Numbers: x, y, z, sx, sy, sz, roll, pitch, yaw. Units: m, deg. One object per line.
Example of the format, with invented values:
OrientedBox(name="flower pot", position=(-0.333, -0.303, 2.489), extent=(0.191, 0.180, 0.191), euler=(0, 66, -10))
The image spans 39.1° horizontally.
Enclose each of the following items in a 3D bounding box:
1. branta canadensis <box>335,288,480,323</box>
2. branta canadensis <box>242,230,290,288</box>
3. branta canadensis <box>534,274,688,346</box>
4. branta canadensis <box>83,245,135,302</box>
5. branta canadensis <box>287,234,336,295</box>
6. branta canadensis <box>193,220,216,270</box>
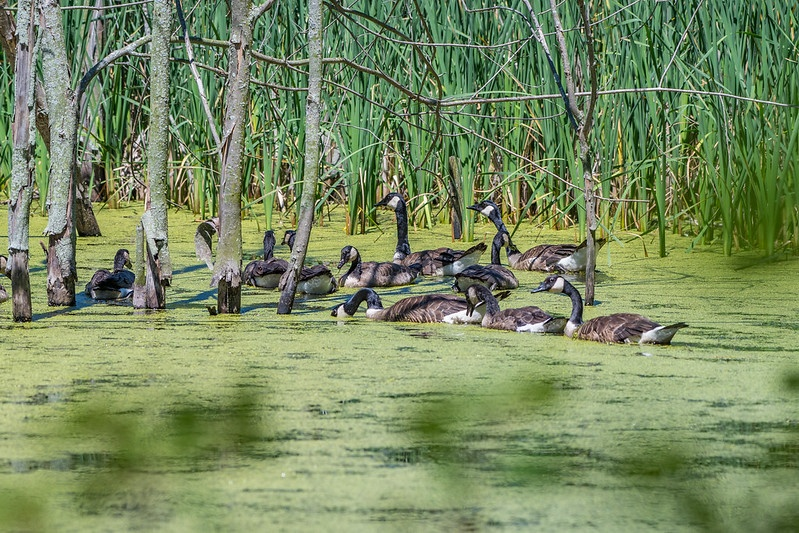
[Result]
OrientedBox(name="branta canadensis", position=(0.094, 0.394, 10.833), extent=(1.426, 0.308, 0.349), euler=(1, 5, 13))
OrientedBox(name="branta canadensis", position=(-1.467, -0.023, 12.633), extent=(0.407, 0.577, 0.837), euler=(3, 6, -5))
OrientedBox(name="branta canadensis", position=(1.857, 0.426, 10.046), extent=(1.439, 0.646, 0.441), euler=(-1, -5, 27))
OrientedBox(name="branta canadensis", position=(-2.980, 0.082, 11.511), extent=(0.465, 0.520, 0.750), euler=(5, 3, -1))
OrientedBox(name="branta canadensis", position=(-0.911, 0.101, 12.231), extent=(0.337, 0.563, 0.807), euler=(-2, 4, -22))
OrientedBox(name="branta canadensis", position=(-1.807, -0.153, 10.662), extent=(0.174, 0.490, 0.370), euler=(6, -12, -22))
